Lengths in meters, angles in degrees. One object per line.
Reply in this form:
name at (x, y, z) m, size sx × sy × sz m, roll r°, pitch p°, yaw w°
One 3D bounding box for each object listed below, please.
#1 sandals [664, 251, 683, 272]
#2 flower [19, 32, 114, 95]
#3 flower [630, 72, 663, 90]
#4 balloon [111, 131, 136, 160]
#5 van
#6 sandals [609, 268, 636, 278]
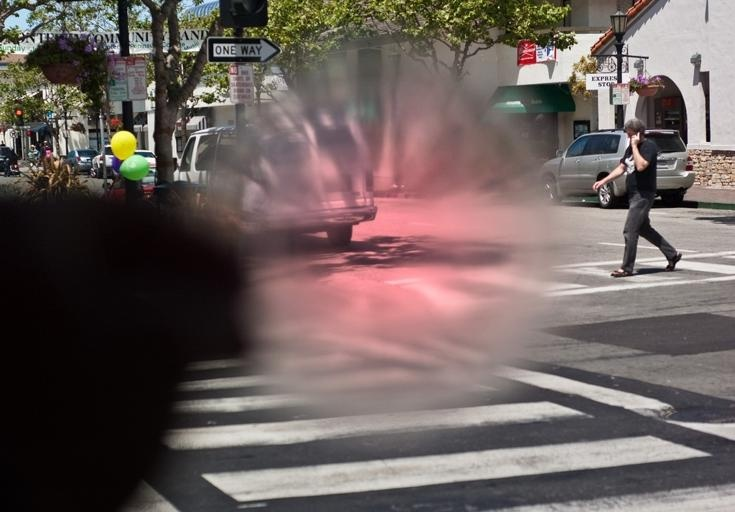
sandals at (4.611, 0.108, 11.802) m, size 0.143 × 0.421 × 0.159 m, roll 5°, pitch 46°, yaw -7°
flower at (-5.480, -3.603, 14.633) m, size 1.151 × 0.868 × 1.212 m, roll -1°, pitch -6°, yaw 7°
flower at (9.903, -6.132, 28.181) m, size 0.797 × 0.483 × 0.839 m, roll 1°, pitch 1°, yaw 7°
balloon at (-4.255, -1.970, 13.710) m, size 0.481 × 0.608 × 0.499 m, roll -4°, pitch -1°, yaw -6°
van at (-0.830, -0.693, 7.752) m, size 1.553 × 1.308 × 4.192 m, roll -1°, pitch 12°, yaw -8°
sandals at (3.726, 0.273, 11.460) m, size 0.348 × 0.133 × 0.124 m, roll 4°, pitch -4°, yaw -26°
